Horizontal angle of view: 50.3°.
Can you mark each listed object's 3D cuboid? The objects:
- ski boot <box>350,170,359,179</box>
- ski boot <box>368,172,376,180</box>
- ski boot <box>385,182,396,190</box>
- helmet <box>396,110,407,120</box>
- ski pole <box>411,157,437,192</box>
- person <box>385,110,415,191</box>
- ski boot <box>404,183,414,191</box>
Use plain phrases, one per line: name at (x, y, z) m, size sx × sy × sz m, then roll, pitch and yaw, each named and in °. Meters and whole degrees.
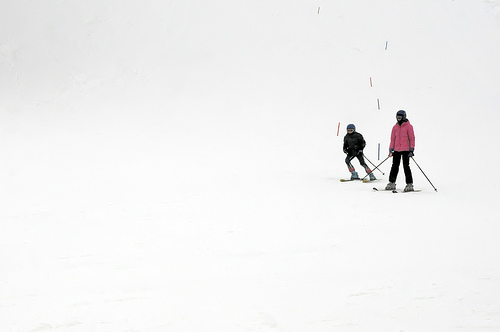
ski boot at (2.908, 0.234, 14.935) m, size 0.254 × 0.260 × 0.211 m, roll -6°, pitch -10°, yaw -6°
ski boot at (3.386, 0.265, 14.800) m, size 0.173 × 0.238 × 0.284 m, roll -9°, pitch -10°, yaw 13°
ski boot at (3.603, 0.511, 13.657) m, size 0.180 × 0.083 × 0.259 m, roll 1°, pitch 4°, yaw -3°
helmet at (3.821, -1.306, 13.518) m, size 0.216 × 0.242 × 0.233 m, roll -2°, pitch 15°, yaw 29°
ski pole at (4.914, 0.260, 15.068) m, size 0.042 × 1.091 × 0.081 m, roll -40°, pitch -15°, yaw 12°
person at (3.774, -0.372, 13.578) m, size 0.795 × 2.045 × 0.759 m, roll -7°, pitch -10°, yaw 0°
ski boot at (3.991, 0.523, 13.463) m, size 0.237 × 0.185 × 0.082 m, roll -8°, pitch -10°, yaw 2°
